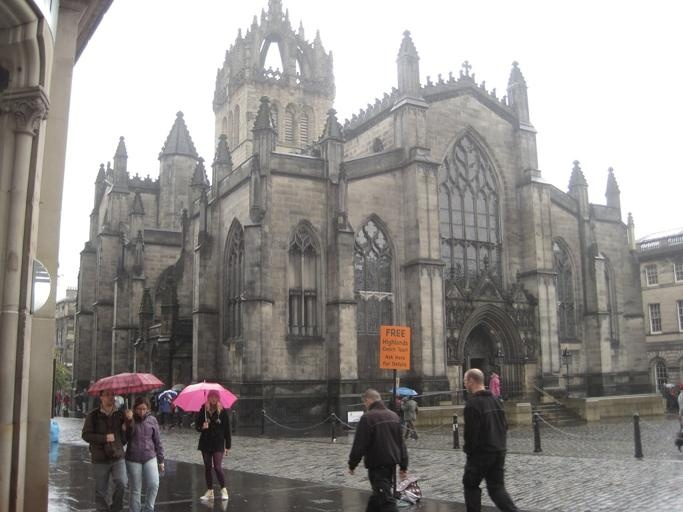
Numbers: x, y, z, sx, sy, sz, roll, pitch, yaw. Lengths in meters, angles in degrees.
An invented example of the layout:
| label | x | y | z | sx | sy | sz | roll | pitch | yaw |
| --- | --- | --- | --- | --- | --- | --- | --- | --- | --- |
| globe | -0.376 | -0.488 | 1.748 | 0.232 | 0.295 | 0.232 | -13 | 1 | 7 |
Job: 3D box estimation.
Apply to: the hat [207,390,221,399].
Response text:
| label | x | y | z | sx | sy | sz | roll | pitch | yaw |
| --- | --- | --- | --- | --- | --- | --- | --- | --- | --- |
| hat | -2.713 | 2.920 | 15.928 | 0.157 | 0.202 | 0.217 | 6 | -17 | -16 |

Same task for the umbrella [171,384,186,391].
| label | x | y | z | sx | sy | sz | roll | pitch | yaw |
| --- | --- | --- | --- | --- | --- | --- | --- | --- | --- |
| umbrella | -6.985 | 5.585 | 31.968 | 0.610 | 0.453 | 0.628 | 1 | -9 | 6 |

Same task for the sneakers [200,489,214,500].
| label | x | y | z | sx | sy | sz | roll | pitch | yaw |
| --- | --- | --- | --- | --- | --- | --- | --- | --- | --- |
| sneakers | -2.729 | 4.787 | 15.172 | 0.266 | 0.213 | 0.354 | 1 | -12 | -11 |

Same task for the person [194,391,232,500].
| label | x | y | z | sx | sy | sz | roll | pitch | yaw |
| --- | --- | --- | --- | --- | --- | --- | --- | --- | --- |
| person | -2.718 | 3.925 | 15.810 | 0.712 | 2.191 | 1.343 | 1 | -12 | -11 |
